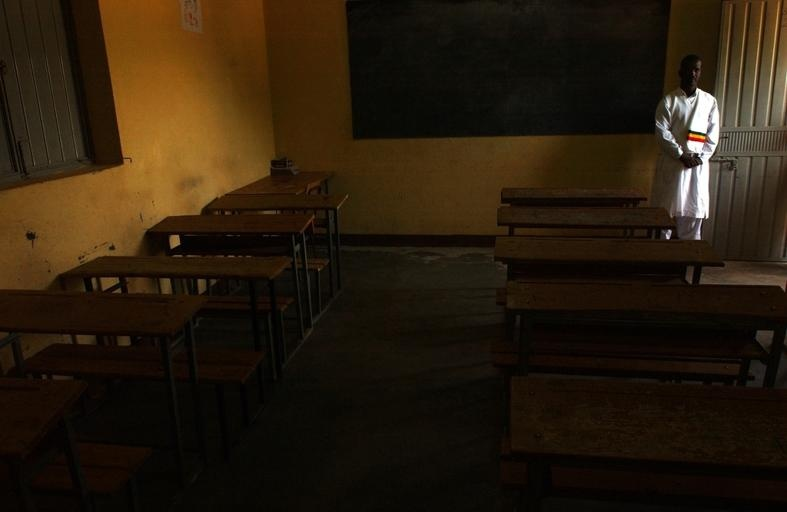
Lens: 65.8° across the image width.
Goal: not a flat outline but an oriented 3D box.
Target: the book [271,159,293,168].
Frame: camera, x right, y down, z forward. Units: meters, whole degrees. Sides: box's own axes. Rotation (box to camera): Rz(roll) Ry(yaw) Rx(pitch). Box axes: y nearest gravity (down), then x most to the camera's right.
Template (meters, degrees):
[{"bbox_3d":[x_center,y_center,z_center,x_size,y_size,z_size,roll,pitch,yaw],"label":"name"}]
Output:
[{"bbox_3d":[-1.221,-0.987,6.557,0.171,0.099,0.166,2,20,10],"label":"book"}]
